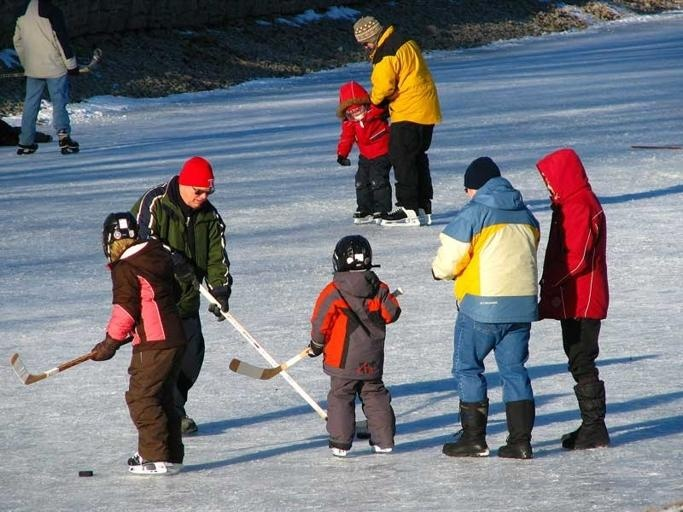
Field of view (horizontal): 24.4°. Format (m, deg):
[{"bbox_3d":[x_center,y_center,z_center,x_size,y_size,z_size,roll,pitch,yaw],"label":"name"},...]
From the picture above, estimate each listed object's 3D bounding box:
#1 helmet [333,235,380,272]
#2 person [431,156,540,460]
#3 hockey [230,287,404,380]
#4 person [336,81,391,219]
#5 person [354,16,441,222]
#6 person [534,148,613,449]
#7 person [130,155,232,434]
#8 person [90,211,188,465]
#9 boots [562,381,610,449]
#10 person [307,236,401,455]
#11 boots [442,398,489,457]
[{"bbox_3d":[0.087,-0.020,13.229,0.327,0.293,0.234,-6,14,-1],"label":"helmet"},{"bbox_3d":[1.292,0.450,13.151,0.868,2.379,1.281,5,21,23],"label":"person"},{"bbox_3d":[-0.285,0.591,12.847,0.400,0.382,2.104,1,-11,-39],"label":"hockey"},{"bbox_3d":[0.332,-1.205,18.191,0.894,1.441,0.714,6,26,12],"label":"person"},{"bbox_3d":[0.708,-1.521,17.890,0.836,2.403,0.545,-7,16,1],"label":"person"},{"bbox_3d":[2.137,0.363,13.570,1.039,2.498,0.994,-1,0,21],"label":"person"},{"bbox_3d":[-1.559,0.322,13.669,1.174,2.221,0.864,5,28,2],"label":"person"},{"bbox_3d":[-1.661,0.726,12.995,0.664,2.142,0.709,-4,16,11],"label":"person"},{"bbox_3d":[2.032,1.333,13.251,0.402,0.551,0.338,-5,15,6],"label":"boots"},{"bbox_3d":[-0.004,0.783,13.449,0.776,1.772,1.040,-1,-2,44],"label":"person"},{"bbox_3d":[1.095,1.471,13.281,0.311,0.466,0.555,7,-11,-39],"label":"boots"}]
